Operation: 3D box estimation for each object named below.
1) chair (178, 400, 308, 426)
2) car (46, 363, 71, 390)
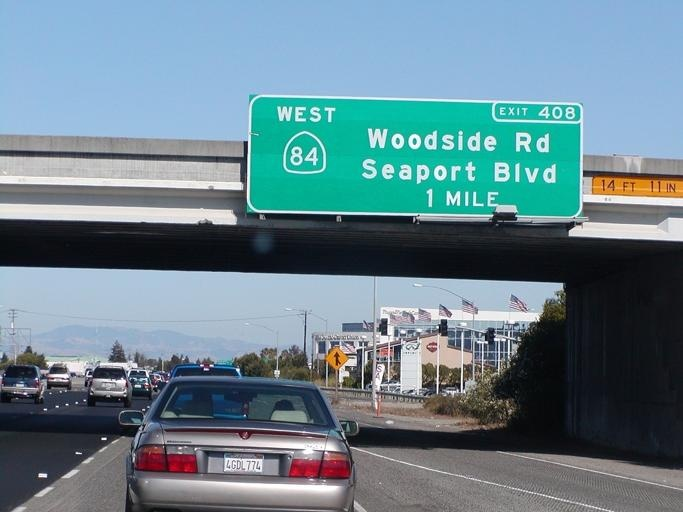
[{"bbox_3d":[-2.007,3.258,25.803,2.934,0.449,0.631,1,3,3],"label":"chair"},{"bbox_3d":[-17.840,7.589,79.674,0.948,1.083,2.384,0,4,-4],"label":"car"}]
